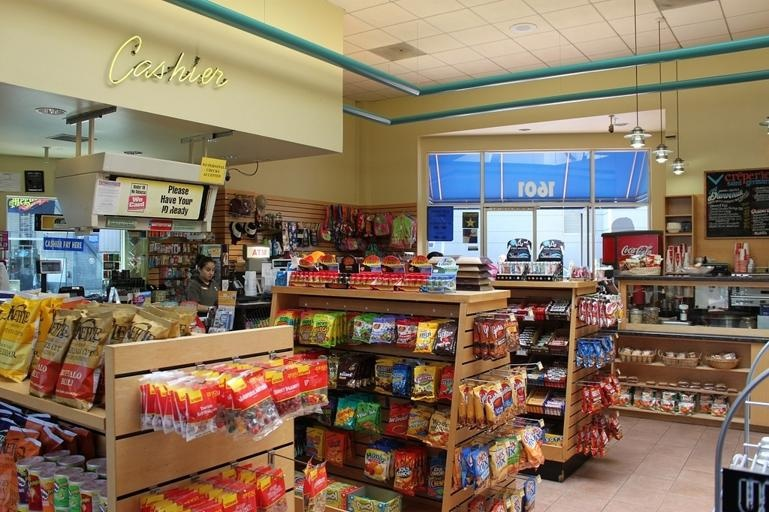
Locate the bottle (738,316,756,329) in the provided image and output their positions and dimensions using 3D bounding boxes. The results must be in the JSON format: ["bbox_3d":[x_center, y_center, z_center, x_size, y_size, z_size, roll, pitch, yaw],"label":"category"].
[{"bbox_3d":[4.602,0.831,6.445,0.162,0.141,0.156,2,-3,-28],"label":"bottle"}]

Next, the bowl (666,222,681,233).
[{"bbox_3d":[5.295,-0.528,9.326,0.215,0.150,0.197,0,-5,0],"label":"bowl"}]

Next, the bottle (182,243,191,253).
[{"bbox_3d":[-3.561,-0.144,9.166,0.192,0.168,0.131,3,4,5],"label":"bottle"}]

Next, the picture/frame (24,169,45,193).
[{"bbox_3d":[-5.467,-1.172,7.946,0.058,0.311,0.431,-11,-5,33],"label":"picture/frame"}]

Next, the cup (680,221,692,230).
[{"bbox_3d":[5.545,-0.554,9.356,0.162,0.151,0.160,10,-8,1],"label":"cup"}]

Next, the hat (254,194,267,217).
[{"bbox_3d":[-2.318,-0.974,9.697,0.147,0.396,0.366,1,4,14],"label":"hat"}]
